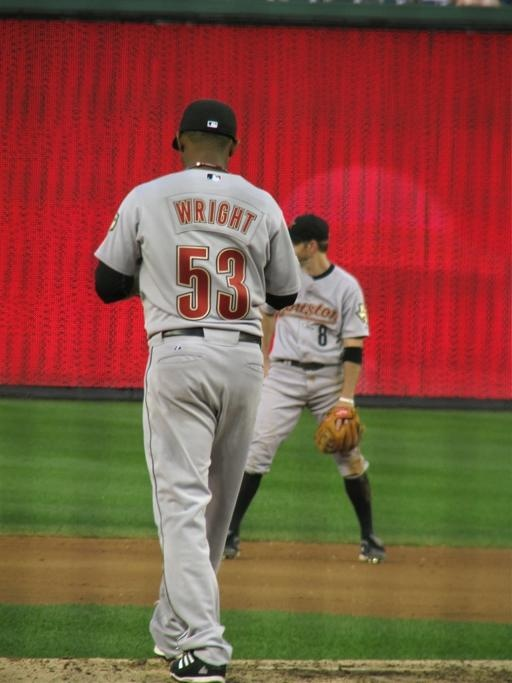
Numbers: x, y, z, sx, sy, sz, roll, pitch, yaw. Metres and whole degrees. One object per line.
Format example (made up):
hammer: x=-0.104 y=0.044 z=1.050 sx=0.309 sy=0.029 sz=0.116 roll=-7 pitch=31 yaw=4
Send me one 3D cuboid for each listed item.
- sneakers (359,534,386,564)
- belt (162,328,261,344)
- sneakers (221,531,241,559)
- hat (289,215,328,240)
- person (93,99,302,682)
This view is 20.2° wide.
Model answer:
sneakers: x=0.724 y=1.290 z=8.961 sx=0.165 sy=0.188 sz=0.121 roll=1 pitch=-8 yaw=3
belt: x=-0.220 y=-0.031 z=7.308 sx=0.503 sy=0.086 sz=0.076 roll=0 pitch=10 yaw=-13
sneakers: x=-0.148 y=1.261 z=8.852 sx=0.060 sy=0.137 sz=0.199 roll=2 pitch=3 yaw=3
hat: x=0.342 y=-0.737 z=9.198 sx=0.199 sy=0.202 sz=0.157 roll=-11 pitch=24 yaw=-32
person: x=-0.249 y=0.216 z=7.453 sx=0.905 sy=2.881 sz=0.938 roll=-8 pitch=14 yaw=-44
